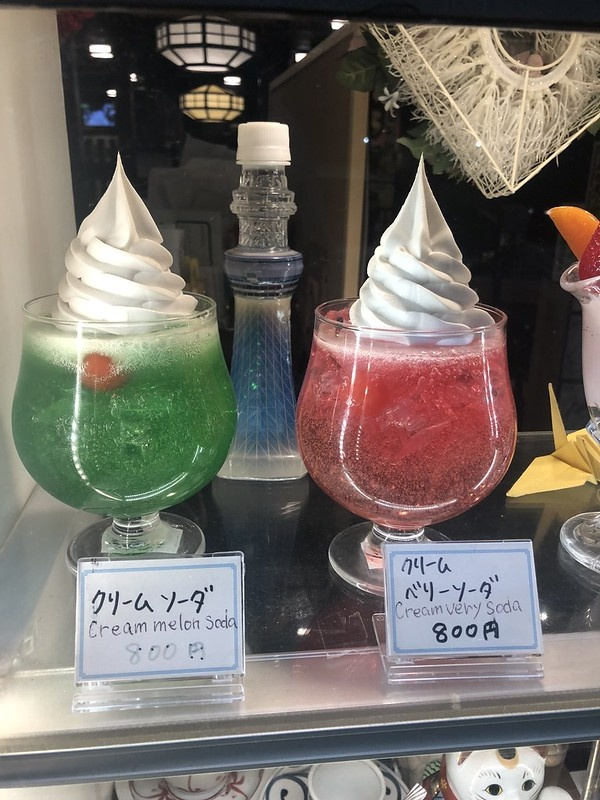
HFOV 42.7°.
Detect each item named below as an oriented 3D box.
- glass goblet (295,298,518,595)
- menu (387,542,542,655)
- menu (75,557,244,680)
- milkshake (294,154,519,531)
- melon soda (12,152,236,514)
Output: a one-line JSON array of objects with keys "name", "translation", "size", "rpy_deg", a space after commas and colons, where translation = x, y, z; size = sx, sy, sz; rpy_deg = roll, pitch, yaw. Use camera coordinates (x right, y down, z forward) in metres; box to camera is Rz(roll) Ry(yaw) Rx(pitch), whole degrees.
[{"name": "glass goblet", "translation": [0.099, 0.036, 0.726], "size": [0.217, 0.228, 0.195], "rpy_deg": [7, 16, 18]}, {"name": "menu", "translation": [0.129, 0.156, 0.605], "size": [0.123, 0.069, 0.062], "rpy_deg": [-1, 34, -3]}, {"name": "menu", "translation": [-0.105, 0.160, 0.573], "size": [0.125, 0.073, 0.064], "rpy_deg": [-3, 34, -5]}, {"name": "milkshake", "translation": [0.105, -0.019, 0.705], "size": [0.218, 0.286, 0.198], "rpy_deg": [3, 18, 6]}, {"name": "melon soda", "translation": [-0.165, -0.040, 0.714], "size": [0.205, 0.259, 0.188], "rpy_deg": [6, 16, 23]}]
